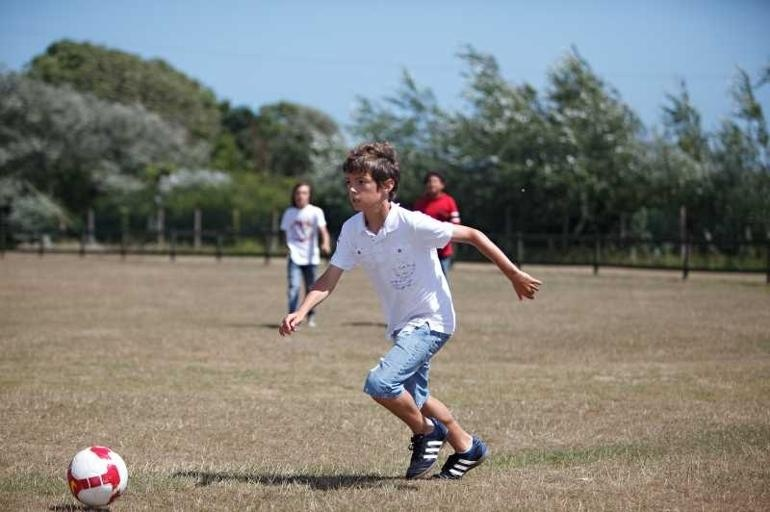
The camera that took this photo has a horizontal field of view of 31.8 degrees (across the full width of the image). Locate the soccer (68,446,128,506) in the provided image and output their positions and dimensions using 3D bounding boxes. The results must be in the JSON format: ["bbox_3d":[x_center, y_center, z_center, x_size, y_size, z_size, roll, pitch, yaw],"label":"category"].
[{"bbox_3d":[-2.661,2.053,12.553,0.539,0.527,0.254,-3,15,-15],"label":"soccer"}]
